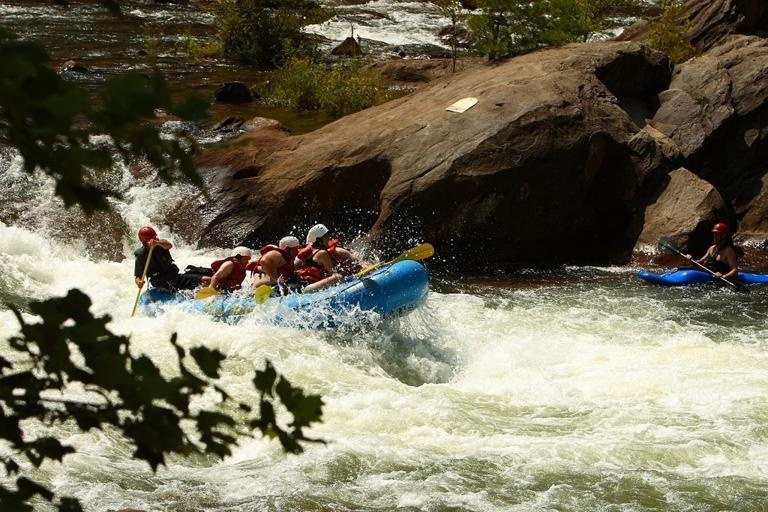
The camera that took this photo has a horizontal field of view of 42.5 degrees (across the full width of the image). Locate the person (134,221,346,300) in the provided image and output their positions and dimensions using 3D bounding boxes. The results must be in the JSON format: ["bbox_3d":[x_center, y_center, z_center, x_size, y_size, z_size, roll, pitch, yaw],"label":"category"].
[{"bbox_3d":[-2.573,0.019,14.890,2.305,0.946,1.221,-12,13,9],"label":"person"}]

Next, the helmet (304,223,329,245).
[{"bbox_3d":[-1.007,-0.327,14.829,0.367,0.262,0.254,-13,0,-13],"label":"helmet"}]

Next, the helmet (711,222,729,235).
[{"bbox_3d":[5.454,-0.444,16.035,0.243,0.101,0.172,4,5,-20],"label":"helmet"}]

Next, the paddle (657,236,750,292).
[{"bbox_3d":[5.095,0.135,16.010,0.137,0.418,2.566,-44,31,-4],"label":"paddle"}]

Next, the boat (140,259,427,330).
[{"bbox_3d":[-1.066,0.675,14.014,2.717,0.476,1.427,-9,-9,7],"label":"boat"}]

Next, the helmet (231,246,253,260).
[{"bbox_3d":[-2.134,-0.039,14.785,0.240,0.109,0.166,-15,10,0],"label":"helmet"}]

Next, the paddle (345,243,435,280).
[{"bbox_3d":[0.127,0.099,15.213,0.204,0.246,1.793,10,20,44],"label":"paddle"}]

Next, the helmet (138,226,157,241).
[{"bbox_3d":[-3.548,-0.330,14.916,0.213,0.226,0.261,-13,22,-20],"label":"helmet"}]

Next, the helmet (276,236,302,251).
[{"bbox_3d":[-1.407,-0.202,14.555,0.265,0.193,0.211,-23,15,5],"label":"helmet"}]
